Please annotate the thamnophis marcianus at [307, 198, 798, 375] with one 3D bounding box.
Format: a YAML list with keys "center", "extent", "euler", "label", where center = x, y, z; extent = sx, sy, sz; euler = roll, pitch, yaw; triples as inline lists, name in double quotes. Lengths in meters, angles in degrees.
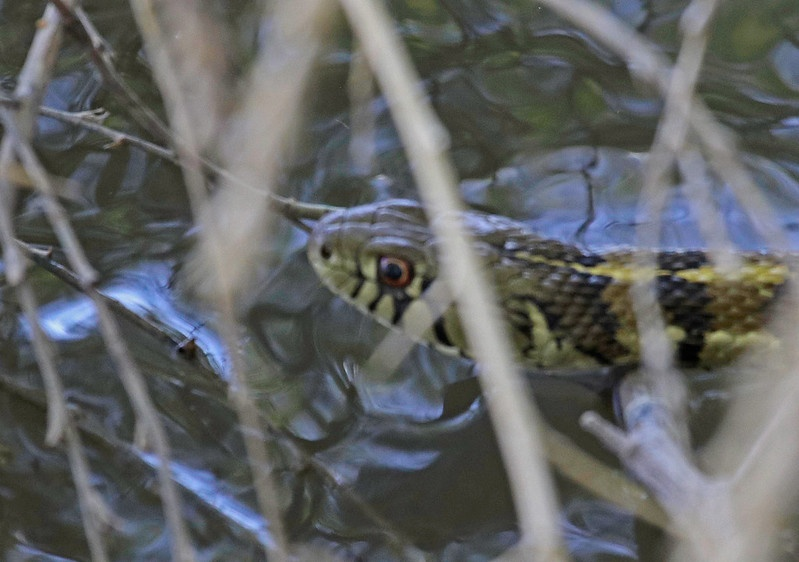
- center: [0.632, 0.017, 5.013]
  extent: [2.048, 0.712, 0.431]
  euler: [-2, 21, 5]
  label: "thamnophis marcianus"
